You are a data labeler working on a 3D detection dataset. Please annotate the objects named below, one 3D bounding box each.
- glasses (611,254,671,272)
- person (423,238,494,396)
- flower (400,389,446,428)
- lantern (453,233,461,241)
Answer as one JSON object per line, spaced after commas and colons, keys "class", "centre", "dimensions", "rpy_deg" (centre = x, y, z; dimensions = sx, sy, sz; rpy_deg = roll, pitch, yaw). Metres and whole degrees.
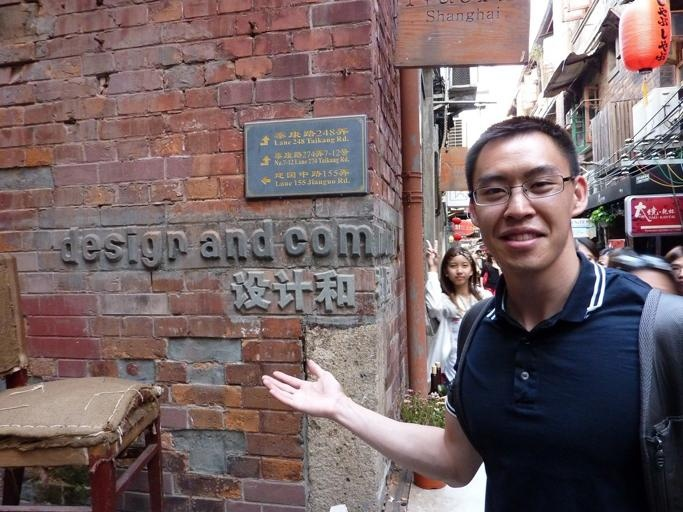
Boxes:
{"class": "glasses", "centre": [1.776, 0.035, 3.648], "dimensions": [0.221, 0.121, 0.321], "rpy_deg": [8, -2, -23]}
{"class": "person", "centre": [1.156, 0.829, 6.136], "dimensions": [0.675, 1.979, 0.534], "rpy_deg": [-10, 33, -4]}
{"class": "flower", "centre": [0.678, 1.257, 5.012], "dimensions": [0.424, 0.242, 0.471], "rpy_deg": [2, 8, 0]}
{"class": "lantern", "centre": [1.178, -0.211, 6.233], "dimensions": [0.069, 0.079, 0.079], "rpy_deg": [-1, 3, 7]}
